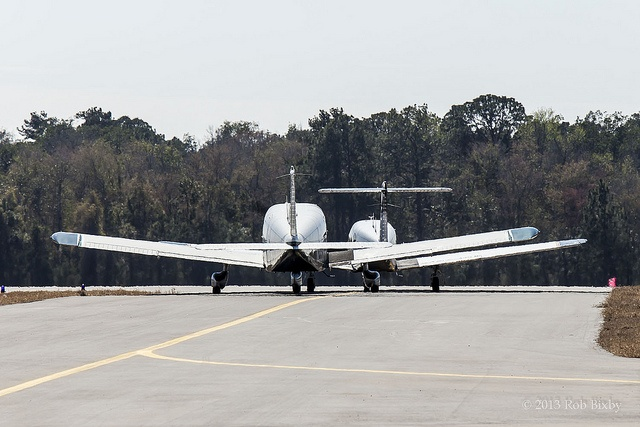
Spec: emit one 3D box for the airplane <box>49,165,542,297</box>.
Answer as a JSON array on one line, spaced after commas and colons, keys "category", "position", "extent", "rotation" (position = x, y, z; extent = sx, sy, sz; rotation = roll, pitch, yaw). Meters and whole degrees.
[{"category": "airplane", "position": [-1.233, 1.309, 74.695], "extent": [27.892, 9.058, 16.207], "rotation": [0, 3, -3]}]
